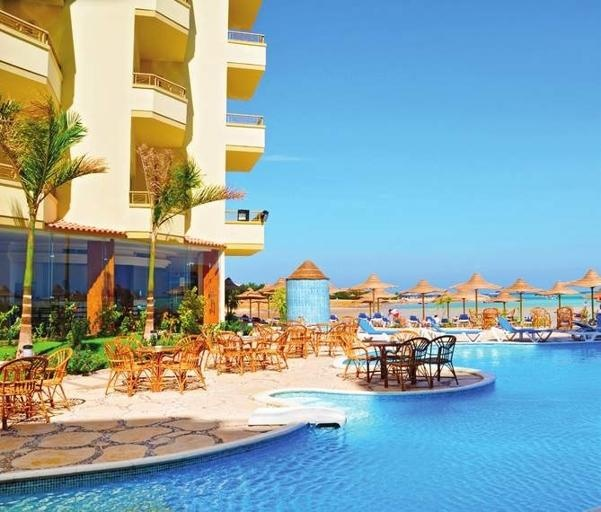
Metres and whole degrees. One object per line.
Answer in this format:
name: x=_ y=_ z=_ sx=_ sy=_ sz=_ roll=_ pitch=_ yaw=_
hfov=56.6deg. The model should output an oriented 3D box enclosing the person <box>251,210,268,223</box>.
person: x=-1.682 y=-1.733 z=24.763 sx=0.531 sy=0.537 sz=1.226 roll=5 pitch=-8 yaw=-26
